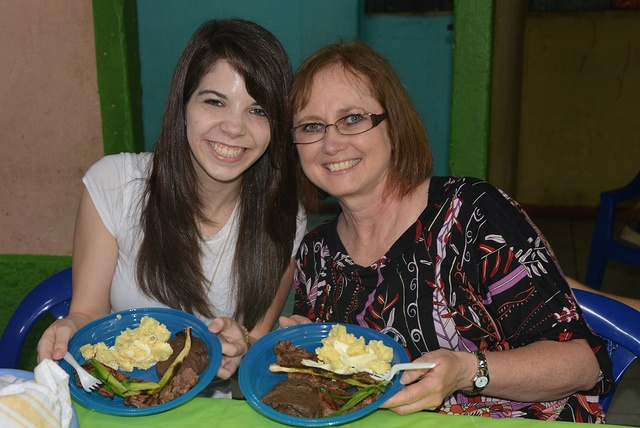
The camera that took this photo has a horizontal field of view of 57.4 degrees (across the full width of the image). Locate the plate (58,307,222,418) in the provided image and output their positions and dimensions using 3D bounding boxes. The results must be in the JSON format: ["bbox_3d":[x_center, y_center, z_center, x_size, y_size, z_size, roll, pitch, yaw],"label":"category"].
[{"bbox_3d":[-0.829,0.605,2.692,0.610,0.442,0.623,-20,12,-39],"label":"plate"}]

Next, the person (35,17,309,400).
[{"bbox_3d":[-0.759,0.032,3.422,0.917,2.522,1.011,-1,21,-7],"label":"person"}]

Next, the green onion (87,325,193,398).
[{"bbox_3d":[-0.797,0.667,2.615,0.447,0.244,0.195,-3,10,-19],"label":"green onion"}]

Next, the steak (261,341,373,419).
[{"bbox_3d":[-0.053,0.767,2.614,0.315,0.049,0.290,6,18,-7],"label":"steak"}]

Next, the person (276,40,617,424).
[{"bbox_3d":[0.570,0.044,2.913,1.485,1.807,0.750,10,14,44],"label":"person"}]

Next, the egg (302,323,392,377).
[{"bbox_3d":[0.148,0.633,2.682,0.248,0.088,0.233,24,34,21],"label":"egg"}]

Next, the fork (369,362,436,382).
[{"bbox_3d":[0.368,0.690,2.567,0.286,0.055,0.050,-10,25,37],"label":"fork"}]
